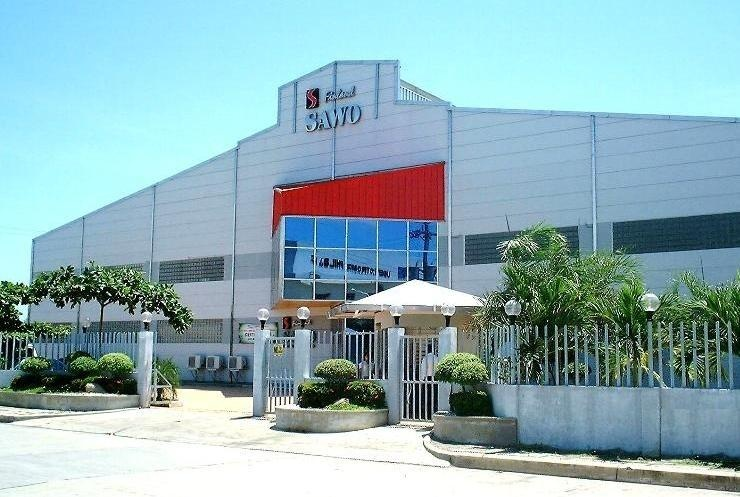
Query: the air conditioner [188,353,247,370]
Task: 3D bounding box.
[{"bbox_3d":[-9.303,6.989,38.783,3.994,0.946,0.920,-4,-7,32],"label":"air conditioner"}]
